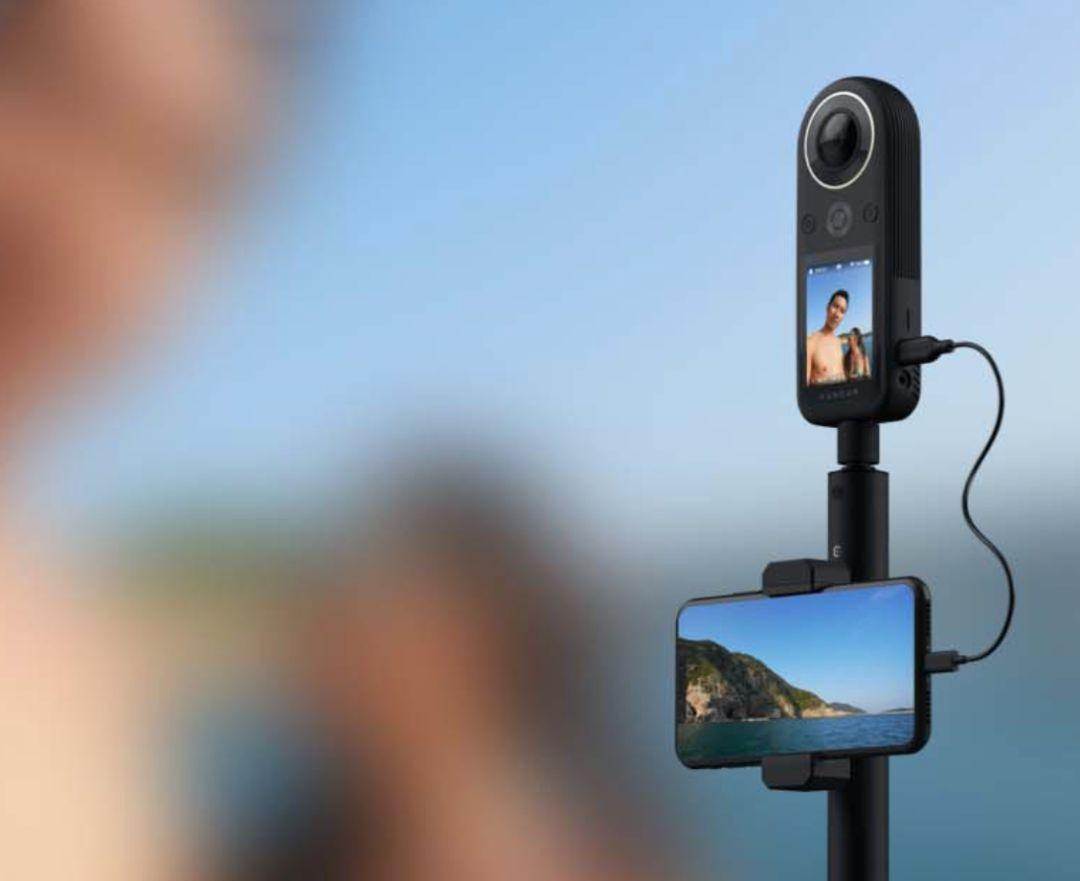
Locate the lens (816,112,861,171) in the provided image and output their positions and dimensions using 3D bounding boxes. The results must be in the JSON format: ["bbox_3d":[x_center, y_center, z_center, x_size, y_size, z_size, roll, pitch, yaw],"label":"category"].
[{"bbox_3d":[0.329,-0.335,2.038,0.016,0.059,0.050,-5,22,-36],"label":"lens"}]

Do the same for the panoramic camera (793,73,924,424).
[{"bbox_3d":[0.350,-0.211,2.036,0.138,0.379,0.086,1,-7,14],"label":"panoramic camera"}]
